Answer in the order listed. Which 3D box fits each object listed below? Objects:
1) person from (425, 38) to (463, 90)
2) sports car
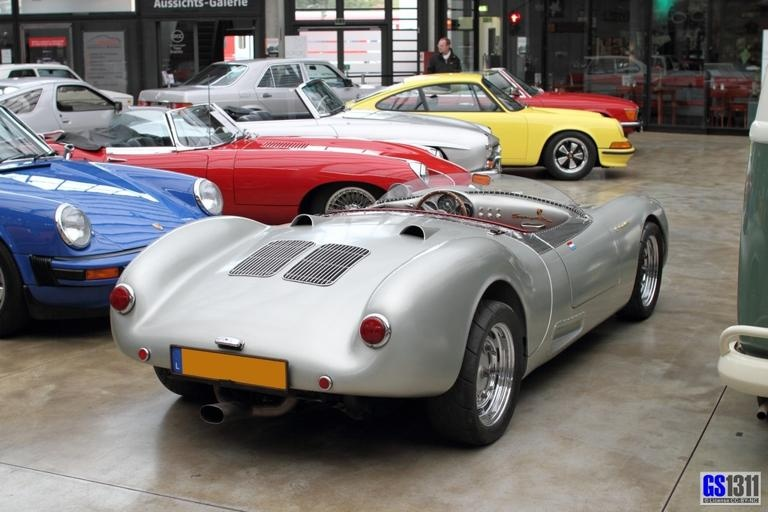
[{"bbox_3d":[1.599,-4.638,13.798,0.912,1.785,0.511,0,-8,11],"label":"person"},{"bbox_3d":[0.411,0.006,3.399,1.621,0.811,3.048,9,19,36],"label":"sports car"}]
